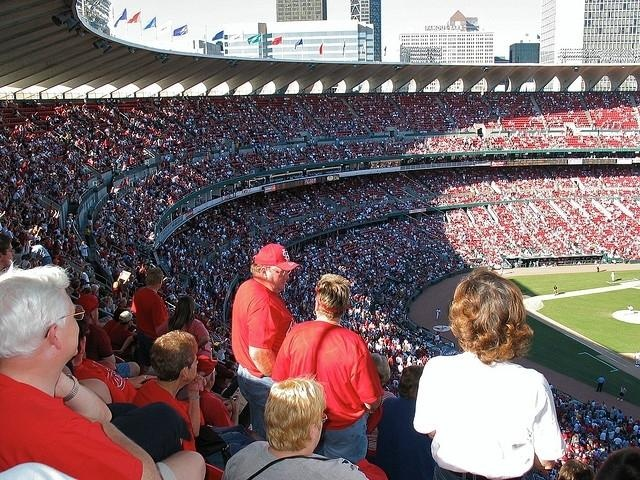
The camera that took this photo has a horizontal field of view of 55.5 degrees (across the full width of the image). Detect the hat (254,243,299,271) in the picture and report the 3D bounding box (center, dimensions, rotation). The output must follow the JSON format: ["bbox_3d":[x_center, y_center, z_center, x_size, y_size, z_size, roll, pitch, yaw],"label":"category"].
[{"bbox_3d":[-0.493,0.200,6.798,0.411,0.245,0.276,0,7,-14],"label":"hat"}]

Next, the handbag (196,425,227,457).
[{"bbox_3d":[-1.085,2.009,6.074,0.303,0.215,0.268,-2,10,-17],"label":"handbag"}]

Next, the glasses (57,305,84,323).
[{"bbox_3d":[-1.942,0.587,4.750,0.178,0.062,0.186,-6,4,-23],"label":"glasses"}]
